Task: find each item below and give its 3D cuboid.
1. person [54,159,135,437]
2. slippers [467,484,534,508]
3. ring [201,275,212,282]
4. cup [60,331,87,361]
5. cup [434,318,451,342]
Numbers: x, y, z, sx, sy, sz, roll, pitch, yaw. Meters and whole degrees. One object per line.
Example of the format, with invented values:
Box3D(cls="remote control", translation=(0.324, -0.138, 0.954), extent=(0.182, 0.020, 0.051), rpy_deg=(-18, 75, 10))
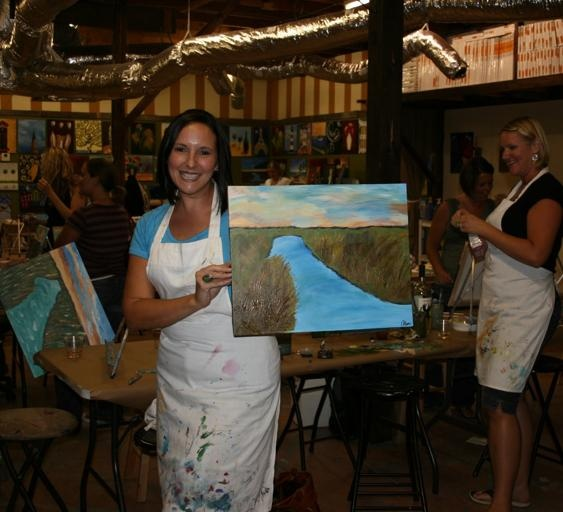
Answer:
Box3D(cls="person", translation=(-1.374, -0.014, 3.948), extent=(0.509, 1.682, 0.522), rpy_deg=(-28, 56, -37))
Box3D(cls="slippers", translation=(1.130, 1.270, 2.718), extent=(0.244, 0.071, 0.099), rpy_deg=(2, 2, 13))
Box3D(cls="ring", translation=(-0.177, 0.054, 1.235), extent=(0.023, 0.018, 0.013), rpy_deg=(-2, 8, -8))
Box3D(cls="cup", translation=(-1.014, 0.451, 2.544), extent=(0.108, 0.113, 0.102), rpy_deg=(-1, 1, 0))
Box3D(cls="cup", translation=(1.010, 0.467, 3.259), extent=(0.080, 0.147, 0.142), rpy_deg=(1, -9, 2))
